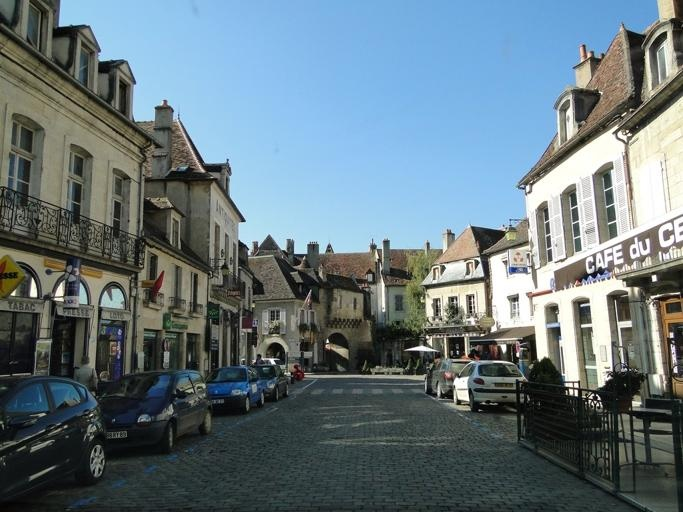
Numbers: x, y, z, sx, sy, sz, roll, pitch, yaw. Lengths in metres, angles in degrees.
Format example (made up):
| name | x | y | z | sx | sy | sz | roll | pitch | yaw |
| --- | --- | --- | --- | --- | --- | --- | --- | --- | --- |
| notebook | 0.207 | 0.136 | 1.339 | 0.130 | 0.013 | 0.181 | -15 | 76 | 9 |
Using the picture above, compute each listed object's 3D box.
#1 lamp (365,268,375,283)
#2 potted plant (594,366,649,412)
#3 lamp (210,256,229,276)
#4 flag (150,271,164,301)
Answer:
| name | x | y | z | sx | sy | sz | roll | pitch | yaw |
| --- | --- | --- | --- | --- | --- | --- | --- | --- | --- |
| lamp | 3.758 | 2.650 | 76.859 | 1.232 | 1.985 | 1.287 | 1 | -10 | -6 |
| potted plant | 5.456 | 2.525 | 11.648 | 0.731 | 0.888 | 3.789 | -9 | -16 | 26 |
| lamp | -6.454 | 0.471 | 32.506 | 0.822 | 1.395 | 1.269 | -5 | -8 | 14 |
| flag | -7.319 | 1.112 | 23.813 | 0.485 | 1.359 | 2.138 | 2 | -15 | -18 |
